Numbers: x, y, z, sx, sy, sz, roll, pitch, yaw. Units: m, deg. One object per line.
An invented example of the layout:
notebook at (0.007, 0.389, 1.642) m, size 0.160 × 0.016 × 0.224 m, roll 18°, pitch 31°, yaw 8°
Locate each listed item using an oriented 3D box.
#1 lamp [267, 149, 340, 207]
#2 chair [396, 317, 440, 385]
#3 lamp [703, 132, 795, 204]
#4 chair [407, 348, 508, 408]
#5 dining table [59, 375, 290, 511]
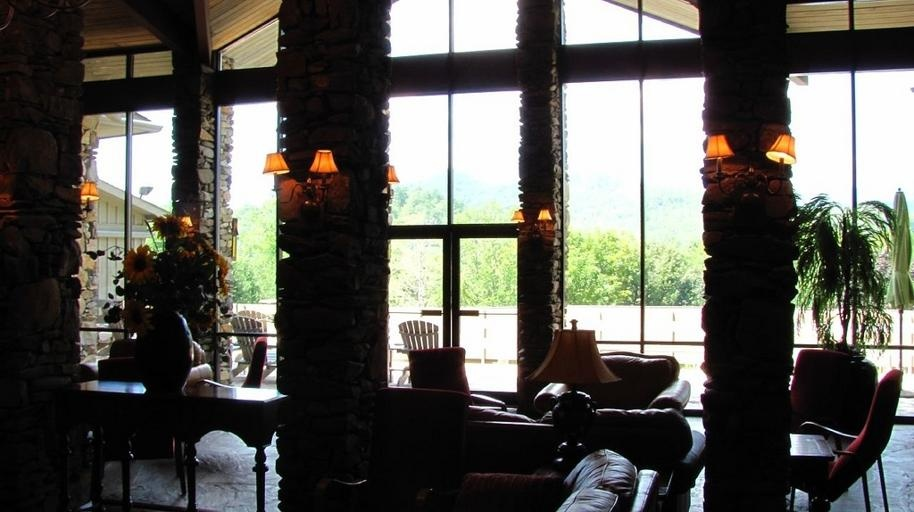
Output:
lamp at (-1.689, -0.848, 8.586) m, size 0.931 × 0.628 × 0.243 m, roll -2°, pitch -6°, yaw 36°
chair at (-0.621, 1.448, 12.441) m, size 1.002 × 1.114 × 0.942 m, roll 0°, pitch 2°, yaw -5°
lamp at (3.348, -1.014, 9.100) m, size 0.987 × 0.589 × 0.308 m, roll 2°, pitch 3°, yaw 24°
chair at (-0.125, 1.516, 10.014) m, size 0.909 × 1.057 × 0.951 m, roll 4°, pitch -8°, yaw -35°
dining table at (-3.017, 2.033, 8.295) m, size 2.356 × 1.380 × 0.601 m, roll 0°, pitch -5°, yaw 15°
